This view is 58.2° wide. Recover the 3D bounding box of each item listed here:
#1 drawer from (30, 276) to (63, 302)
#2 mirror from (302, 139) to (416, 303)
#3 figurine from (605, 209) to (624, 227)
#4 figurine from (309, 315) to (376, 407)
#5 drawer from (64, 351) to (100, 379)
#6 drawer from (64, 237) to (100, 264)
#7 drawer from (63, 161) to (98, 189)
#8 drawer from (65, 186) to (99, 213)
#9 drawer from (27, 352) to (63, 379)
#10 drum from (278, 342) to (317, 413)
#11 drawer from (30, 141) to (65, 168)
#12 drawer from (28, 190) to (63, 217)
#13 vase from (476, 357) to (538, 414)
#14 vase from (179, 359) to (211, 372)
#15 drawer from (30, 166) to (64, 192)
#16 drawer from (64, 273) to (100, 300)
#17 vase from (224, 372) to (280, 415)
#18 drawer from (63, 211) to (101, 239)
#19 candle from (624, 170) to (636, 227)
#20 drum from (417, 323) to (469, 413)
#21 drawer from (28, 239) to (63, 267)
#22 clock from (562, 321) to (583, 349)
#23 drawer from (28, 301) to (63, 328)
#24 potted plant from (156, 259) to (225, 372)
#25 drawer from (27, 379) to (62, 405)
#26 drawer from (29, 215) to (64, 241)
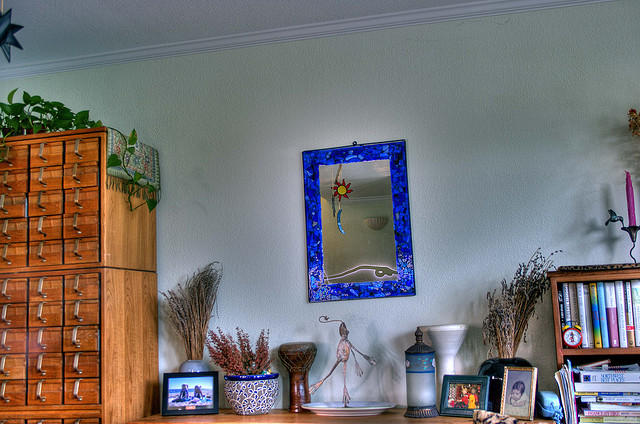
[{"bbox_3d":[-1.876,0.543,4.022,0.303,0.203,0.162,-1,-9,8],"label":"drawer"},{"bbox_3d":[0.268,0.066,4.152,0.783,1.155,0.065,-2,-9,10],"label":"mirror"},{"bbox_3d":[1.939,0.040,3.795,0.034,0.087,0.091,-1,-8,-35],"label":"figurine"},{"bbox_3d":[0.148,1.019,3.981,0.469,0.599,0.220,-1,-9,3],"label":"figurine"},{"bbox_3d":[-1.589,1.031,3.935,0.307,0.193,0.207,-7,-11,19],"label":"drawer"},{"bbox_3d":[-1.631,0.268,4.003,0.292,0.179,0.218,-3,-5,11],"label":"drawer"},{"bbox_3d":[-1.657,-0.251,4.008,0.268,0.171,0.171,-4,-4,15],"label":"drawer"},{"bbox_3d":[-1.638,-0.073,3.988,0.246,0.153,0.180,-2,-8,16],"label":"drawer"},{"bbox_3d":[-1.885,1.057,3.958,0.243,0.163,0.161,7,-22,-39],"label":"drawer"},{"bbox_3d":[-0.151,1.173,4.048,0.304,0.455,0.291,-2,-19,-1],"label":"drum"},{"bbox_3d":[-1.903,-0.396,4.063,0.279,0.170,0.175,-2,-8,13],"label":"drawer"},{"bbox_3d":[-1.909,-0.039,4.068,0.253,0.196,0.184,-1,-8,8],"label":"drawer"},{"bbox_3d":[1.177,1.103,3.682,0.321,0.320,0.183,-3,-9,15],"label":"vase"},{"bbox_3d":[-0.895,1.097,4.107,0.220,0.079,0.206,1,-10,-12],"label":"vase"},{"bbox_3d":[-1.911,-0.215,4.056,0.249,0.162,0.175,-2,-7,12],"label":"drawer"},{"bbox_3d":[-1.633,0.519,3.910,0.293,0.192,0.153,-3,-4,19],"label":"drawer"},{"bbox_3d":[-0.471,1.244,3.911,0.354,0.267,0.120,1,-9,-9],"label":"vase"},{"bbox_3d":[-1.722,0.092,3.973,0.160,0.171,0.281,1,3,24],"label":"drawer"},{"bbox_3d":[2.026,-0.101,3.765,0.045,0.401,0.221,-5,-10,27],"label":"candle"},{"bbox_3d":[0.838,0.991,3.837,0.289,0.595,0.259,2,-1,12],"label":"drum"},{"bbox_3d":[-1.898,0.290,4.054,0.280,0.177,0.198,-5,-5,12],"label":"drawer"},{"bbox_3d":[1.588,0.776,3.611,0.112,0.173,0.069,-11,-9,36],"label":"clock"},{"bbox_3d":[-1.888,0.715,4.018,0.286,0.185,0.161,-3,-6,12],"label":"drawer"},{"bbox_3d":[-0.983,0.754,4.228,0.483,0.792,0.238,-5,-10,24],"label":"potted plant"},{"bbox_3d":[-1.871,1.227,3.934,0.260,0.164,0.181,-5,-11,16],"label":"drawer"},{"bbox_3d":[-1.905,0.113,3.994,0.253,0.175,0.032,-3,-9,13],"label":"drawer"}]
